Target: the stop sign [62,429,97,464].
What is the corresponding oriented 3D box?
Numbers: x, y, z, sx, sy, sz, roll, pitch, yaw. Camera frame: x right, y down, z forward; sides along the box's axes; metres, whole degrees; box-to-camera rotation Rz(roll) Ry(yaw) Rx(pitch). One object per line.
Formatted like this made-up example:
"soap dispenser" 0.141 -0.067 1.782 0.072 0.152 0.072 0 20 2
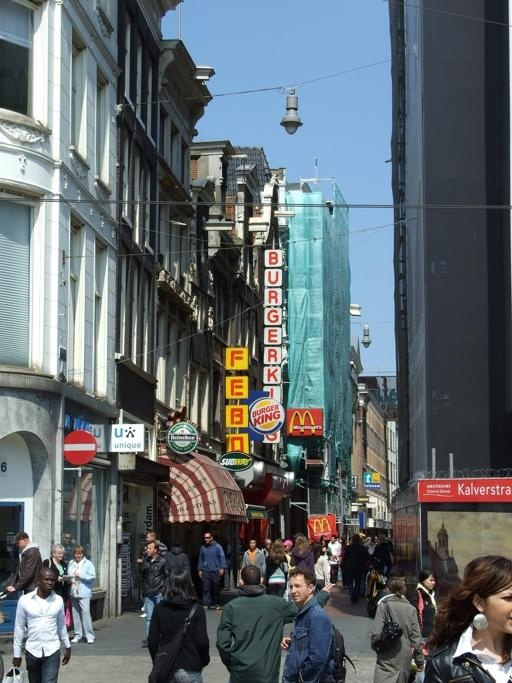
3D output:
"stop sign" -2.667 1.584 18.944 0.454 0.534 0.302 0 -11 -18
